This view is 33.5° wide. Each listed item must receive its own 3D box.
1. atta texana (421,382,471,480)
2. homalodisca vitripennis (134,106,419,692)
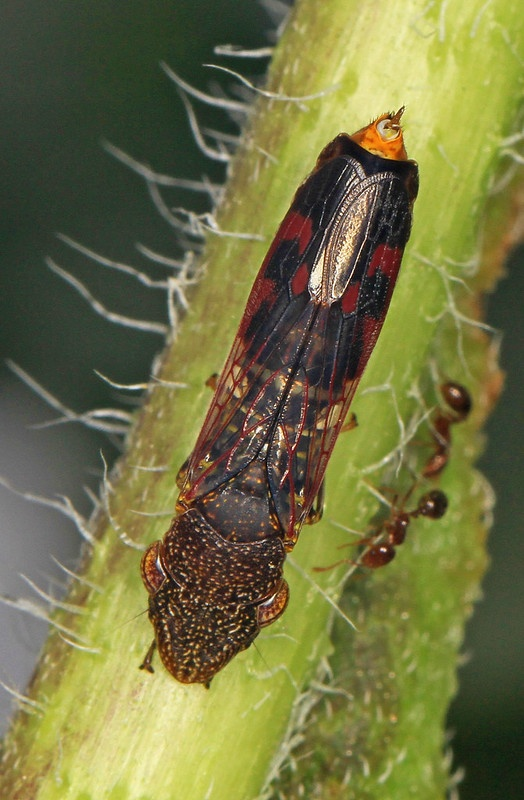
[{"bbox_3d":[0.800,0.121,3.893,0.160,0.435,0.149,12,25,1],"label":"atta texana"},{"bbox_3d":[0.101,-0.053,3.709,0.668,0.676,2.649,21,82,-4],"label":"homalodisca vitripennis"}]
